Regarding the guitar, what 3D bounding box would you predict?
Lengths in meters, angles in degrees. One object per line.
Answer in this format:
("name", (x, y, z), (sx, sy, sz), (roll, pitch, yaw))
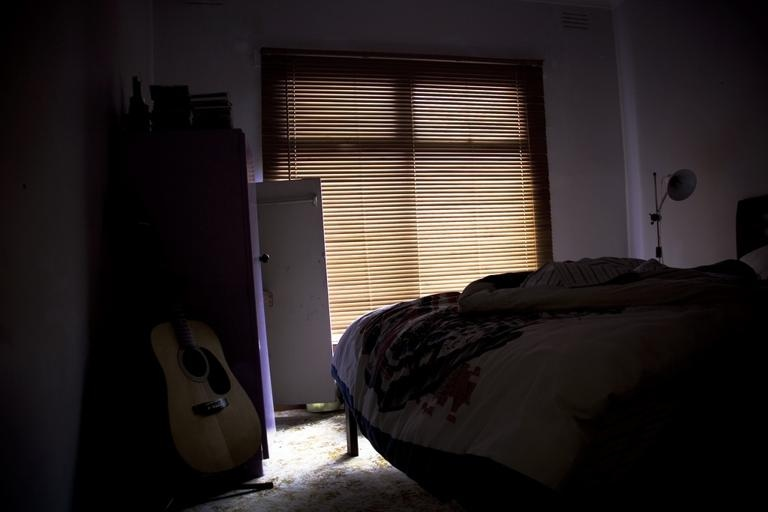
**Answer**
("guitar", (-0.853, 0.632, 2.813), (0.416, 0.684, 0.375), (-8, 8, -44))
